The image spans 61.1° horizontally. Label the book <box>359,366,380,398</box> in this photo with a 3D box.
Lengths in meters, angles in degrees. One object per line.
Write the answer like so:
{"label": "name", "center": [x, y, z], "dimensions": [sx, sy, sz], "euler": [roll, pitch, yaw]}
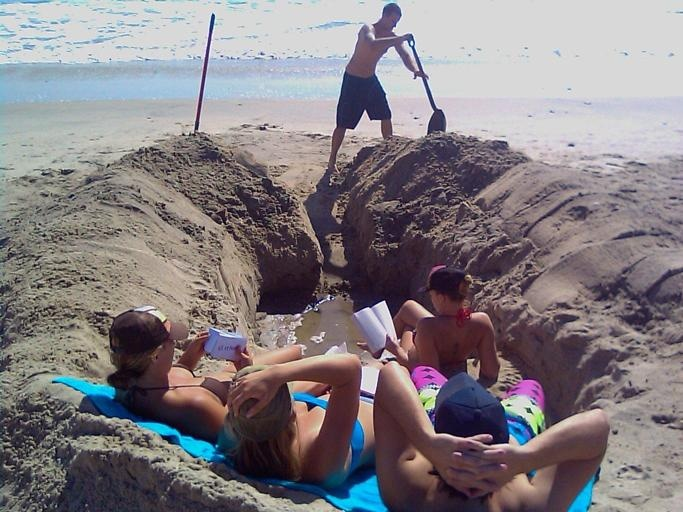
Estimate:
{"label": "book", "center": [0.196, 0.881, 4.074], "dimensions": [0.207, 0.048, 0.195], "euler": [16, 28, -2]}

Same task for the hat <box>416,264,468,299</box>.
{"label": "hat", "center": [0.795, 0.197, 4.343], "dimensions": [0.209, 0.219, 0.284], "euler": [-16, 1, -44]}

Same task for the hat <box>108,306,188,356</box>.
{"label": "hat", "center": [-1.127, 0.414, 3.379], "dimensions": [0.361, 0.185, 0.240], "euler": [-10, 24, -42]}

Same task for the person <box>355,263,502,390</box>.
{"label": "person", "center": [0.693, 0.554, 4.955], "dimensions": [0.756, 0.935, 1.448], "euler": [-1, 6, -22]}

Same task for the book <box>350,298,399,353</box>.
{"label": "book", "center": [0.277, 0.617, 4.971], "dimensions": [0.438, 0.432, 0.243], "euler": [-22, -7, -46]}

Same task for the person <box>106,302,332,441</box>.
{"label": "person", "center": [-0.653, 0.659, 3.725], "dimensions": [1.410, 0.693, 0.711], "euler": [-13, 32, -41]}

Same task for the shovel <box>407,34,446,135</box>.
{"label": "shovel", "center": [1.294, -2.147, 8.111], "dimensions": [0.151, 0.329, 1.408], "euler": [54, 4, 22]}

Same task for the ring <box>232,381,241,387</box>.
{"label": "ring", "center": [-0.555, 0.677, 3.062], "dimensions": [0.040, 0.011, 0.039], "euler": [-10, 39, 8]}

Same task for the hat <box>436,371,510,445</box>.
{"label": "hat", "center": [0.660, 0.799, 3.106], "dimensions": [0.264, 0.208, 0.401], "euler": [2, 23, 0]}
